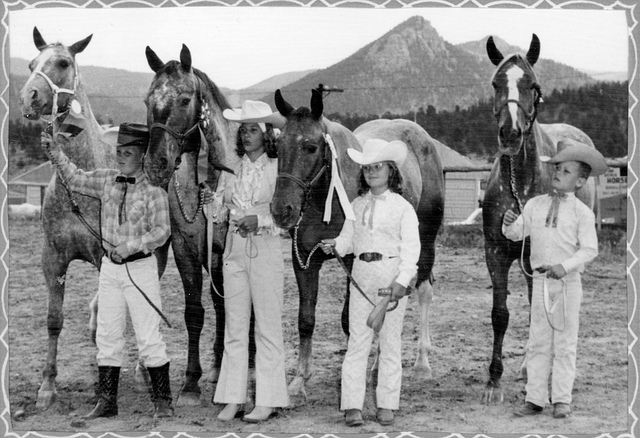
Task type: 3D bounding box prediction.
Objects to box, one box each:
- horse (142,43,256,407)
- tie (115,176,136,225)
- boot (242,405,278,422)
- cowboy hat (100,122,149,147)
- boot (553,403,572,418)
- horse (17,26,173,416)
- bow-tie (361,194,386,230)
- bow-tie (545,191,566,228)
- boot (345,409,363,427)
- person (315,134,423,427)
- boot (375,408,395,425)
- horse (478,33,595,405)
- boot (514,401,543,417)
[{"bbox_3d":[-1.118,0.177,8.280,1.416,3.555,1.013,0,2,-2],"label":"horse"},{"bbox_3d":[-1.816,-0.180,7.725,0.221,0.385,0.094,1,-4,27],"label":"tie"},{"bbox_3d":[-0.554,1.796,7.672,0.340,0.136,0.122,2,-4,-19],"label":"boot"},{"bbox_3d":[-1.868,-0.801,8.010,0.369,0.128,0.330,2,17,6],"label":"cowboy hat"},{"bbox_3d":[2.227,1.786,7.760,0.102,0.091,0.217,-3,-15,8],"label":"boot"},{"bbox_3d":[-2.570,0.259,8.827,0.989,3.374,3.804,-2,-10,-8],"label":"horse"},{"bbox_3d":[0.480,-0.061,7.703,0.186,0.316,0.139,2,5,31],"label":"bow-tie"},{"bbox_3d":[2.196,-0.082,7.857,0.168,0.317,0.124,2,5,32],"label":"bow-tie"},{"bbox_3d":[0.296,1.813,7.617,0.160,0.165,0.074,-1,4,3],"label":"boot"},{"bbox_3d":[0.524,0.587,7.699,0.735,2.623,0.756,2,5,31],"label":"person"},{"bbox_3d":[0.583,1.816,7.653,0.112,0.117,0.285,0,-11,0],"label":"boot"},{"bbox_3d":[2.085,-0.021,8.373,0.754,3.545,1.441,2,5,36],"label":"horse"},{"bbox_3d":[1.935,1.797,7.849,0.310,0.126,0.112,1,-4,-5],"label":"boot"}]
